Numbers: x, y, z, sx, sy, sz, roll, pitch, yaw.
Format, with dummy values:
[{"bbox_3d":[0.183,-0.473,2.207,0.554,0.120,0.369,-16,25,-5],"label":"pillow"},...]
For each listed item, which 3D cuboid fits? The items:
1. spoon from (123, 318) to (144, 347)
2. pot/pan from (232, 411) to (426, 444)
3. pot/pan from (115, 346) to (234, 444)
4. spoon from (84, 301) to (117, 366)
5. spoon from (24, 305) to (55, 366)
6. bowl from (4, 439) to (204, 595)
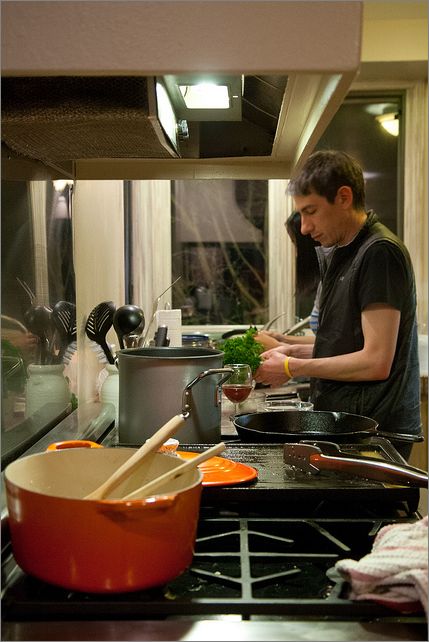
[{"bbox_3d":[-0.233,0.043,1.563,0.085,0.093,0.047,5,9,9],"label":"spoon"},{"bbox_3d":[0.214,0.223,1.110,0.251,0.033,0.160,1,-4,16],"label":"pot/pan"},{"bbox_3d":[-0.082,0.143,1.024,0.218,0.176,0.210,4,5,0],"label":"pot/pan"},{"bbox_3d":[-0.333,0.028,1.513,0.085,0.170,0.178,3,5,-12],"label":"spoon"},{"bbox_3d":[-0.349,0.026,1.038,0.033,0.104,0.034,-2,-23,-23],"label":"spoon"},{"bbox_3d":[-0.114,0.182,0.518,0.203,0.092,0.176,6,6,19],"label":"bowl"}]
